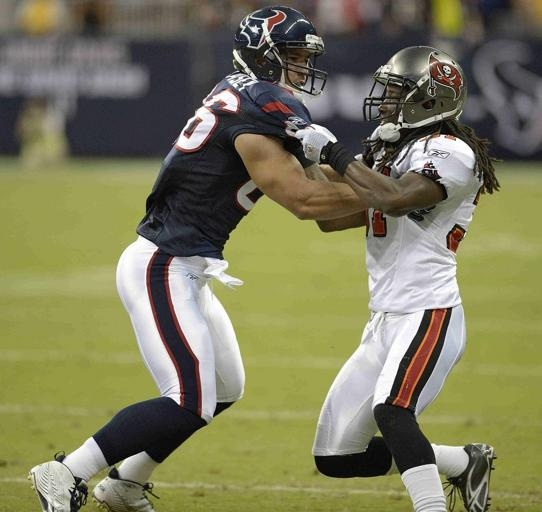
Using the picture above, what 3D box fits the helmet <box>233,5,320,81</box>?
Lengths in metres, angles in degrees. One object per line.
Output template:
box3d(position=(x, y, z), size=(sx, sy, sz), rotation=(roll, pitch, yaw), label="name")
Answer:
box3d(position=(-0.011, -0.929, 3.934), size=(0.435, 0.274, 0.322), rotation=(5, 6, 14), label="helmet")

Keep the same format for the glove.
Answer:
box3d(position=(0.221, -0.439, 3.646), size=(0.275, 0.084, 0.192), rotation=(31, 4, 15), label="glove")

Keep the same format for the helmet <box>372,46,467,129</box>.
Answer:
box3d(position=(0.654, -0.740, 3.853), size=(0.502, 0.300, 0.307), rotation=(-3, 20, -4), label="helmet")
